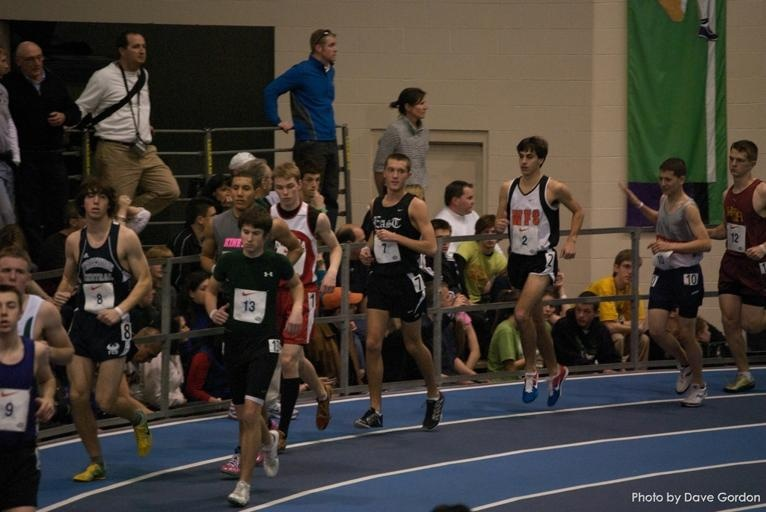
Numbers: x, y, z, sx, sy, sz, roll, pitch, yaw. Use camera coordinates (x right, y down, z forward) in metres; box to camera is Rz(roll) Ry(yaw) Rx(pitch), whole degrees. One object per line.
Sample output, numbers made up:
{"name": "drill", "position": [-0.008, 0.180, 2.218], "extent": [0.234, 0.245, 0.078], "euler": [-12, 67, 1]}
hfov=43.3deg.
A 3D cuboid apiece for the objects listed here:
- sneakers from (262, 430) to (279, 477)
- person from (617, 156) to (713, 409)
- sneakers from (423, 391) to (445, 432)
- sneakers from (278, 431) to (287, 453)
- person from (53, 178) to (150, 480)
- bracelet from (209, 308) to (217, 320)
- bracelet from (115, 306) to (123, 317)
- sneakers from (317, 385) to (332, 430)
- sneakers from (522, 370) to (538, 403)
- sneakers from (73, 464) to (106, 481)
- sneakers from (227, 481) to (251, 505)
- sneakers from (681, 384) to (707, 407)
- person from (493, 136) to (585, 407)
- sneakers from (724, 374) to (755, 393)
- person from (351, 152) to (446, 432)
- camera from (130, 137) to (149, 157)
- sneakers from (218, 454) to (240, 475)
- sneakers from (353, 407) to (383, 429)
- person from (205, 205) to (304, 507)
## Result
{"name": "sneakers", "position": [-0.942, 1.675, 8.226], "extent": [0.130, 0.399, 0.170], "euler": [-2, 13, 10]}
{"name": "person", "position": [3.222, 0.269, 10.613], "extent": [0.712, 2.672, 1.231], "euler": [1, 6, 18]}
{"name": "sneakers", "position": [0.483, 1.571, 9.712], "extent": [0.147, 0.445, 0.178], "euler": [6, -3, 35]}
{"name": "sneakers", "position": [-0.941, 1.726, 8.952], "extent": [0.085, 0.254, 0.171], "euler": [2, -25, -4]}
{"name": "person", "position": [-2.469, 0.646, 8.486], "extent": [0.792, 2.622, 0.369], "euler": [-1, 6, -10]}
{"name": "bracelet", "position": [-1.480, 0.500, 8.356], "extent": [0.081, 0.081, 0.081], "euler": [-2, 9, -9]}
{"name": "bracelet", "position": [-2.293, 0.480, 8.380], "extent": [0.020, 0.073, 0.075], "euler": [-38, -12, -5]}
{"name": "sneakers", "position": [-0.604, 1.487, 9.439], "extent": [0.155, 0.442, 0.180], "euler": [6, 7, 36]}
{"name": "sneakers", "position": [1.546, 1.374, 10.234], "extent": [0.142, 0.397, 0.176], "euler": [1, -12, 34]}
{"name": "sneakers", "position": [-2.564, 1.896, 8.520], "extent": [0.331, 0.142, 0.119], "euler": [-1, 3, -11]}
{"name": "sneakers", "position": [-1.183, 1.948, 7.903], "extent": [0.124, 0.129, 0.263], "euler": [2, -9, 6]}
{"name": "sneakers", "position": [3.372, 1.522, 10.513], "extent": [0.148, 0.165, 0.391], "euler": [2, 14, 41]}
{"name": "person", "position": [1.633, 0.175, 10.148], "extent": [0.876, 2.819, 0.563], "euler": [0, 6, 6]}
{"name": "sneakers", "position": [4.043, 1.436, 10.904], "extent": [0.381, 0.176, 0.150], "euler": [-4, 5, -15]}
{"name": "person", "position": [0.112, 0.376, 9.582], "extent": [0.903, 2.774, 0.621], "euler": [-2, 6, -20]}
{"name": "camera", "position": [-2.941, -1.307, 11.547], "extent": [0.102, 0.144, 0.192], "euler": [0, -33, 17]}
{"name": "sneakers", "position": [-1.331, 1.857, 8.564], "extent": [0.096, 0.129, 0.282], "euler": [2, -6, 31]}
{"name": "sneakers", "position": [-0.193, 1.587, 9.419], "extent": [0.130, 0.168, 0.366], "euler": [0, -10, 43]}
{"name": "person", "position": [-1.083, 0.815, 8.135], "extent": [0.817, 2.441, 0.668], "euler": [-1, 6, -8]}
